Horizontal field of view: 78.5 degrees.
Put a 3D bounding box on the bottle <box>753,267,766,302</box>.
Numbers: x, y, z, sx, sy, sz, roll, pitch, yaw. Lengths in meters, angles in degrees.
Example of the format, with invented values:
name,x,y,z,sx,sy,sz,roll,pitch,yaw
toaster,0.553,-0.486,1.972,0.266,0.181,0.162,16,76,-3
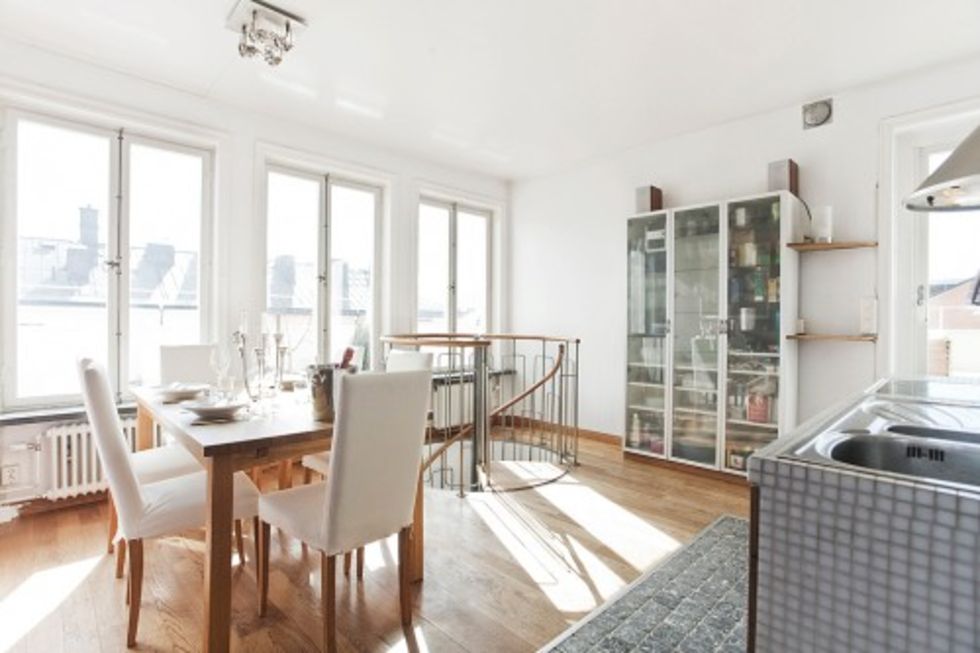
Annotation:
name,x,y,z,sx,sy,sz,roll,pitch,yaw
bottle,2.340,-0.369,5.252,0.085,0.293,0.021,-1,2,24

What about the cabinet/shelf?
name,x,y,z,sx,sy,sz,roll,pitch,yaw
cabinet/shelf,2.040,0.071,5.567,1.654,2.442,0.465,0,3,41

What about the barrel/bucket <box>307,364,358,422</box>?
name,x,y,z,sx,sy,sz,roll,pitch,yaw
barrel/bucket,-1.005,0.392,3.618,0.342,0.344,0.303,5,-2,-20
